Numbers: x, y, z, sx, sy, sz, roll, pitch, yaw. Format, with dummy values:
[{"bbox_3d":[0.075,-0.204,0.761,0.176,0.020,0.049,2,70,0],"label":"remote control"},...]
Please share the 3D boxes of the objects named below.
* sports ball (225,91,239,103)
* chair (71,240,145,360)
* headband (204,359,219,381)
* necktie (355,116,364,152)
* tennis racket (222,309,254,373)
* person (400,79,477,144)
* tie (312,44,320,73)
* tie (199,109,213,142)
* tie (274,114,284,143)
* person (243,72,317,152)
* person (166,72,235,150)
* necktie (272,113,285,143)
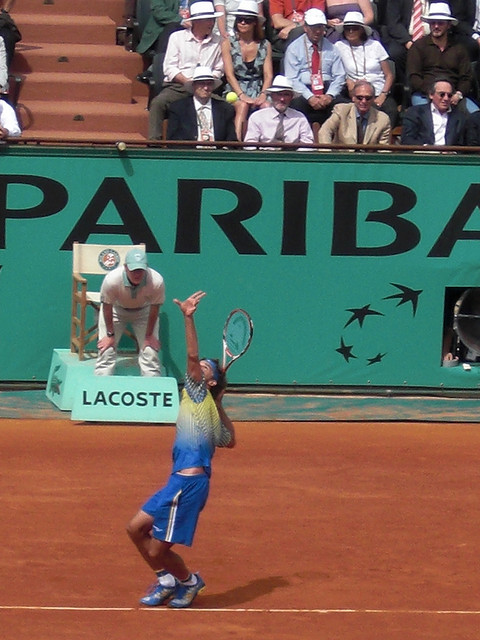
[{"bbox_3d":[-0.078,-2.498,13.704,0.151,0.132,0.106,-5,-12,21],"label":"sports ball"},{"bbox_3d":[-1.231,-0.186,11.910,0.759,1.077,0.639,-2,14,-17],"label":"chair"},{"bbox_3d":[-0.161,0.326,8.001,0.091,0.117,0.039,-6,5,4],"label":"headband"},{"bbox_3d":[1.297,-2.025,12.996,0.052,0.276,0.119,6,18,28],"label":"necktie"},{"bbox_3d":[0.031,0.132,8.141,0.027,0.460,0.187,0,35,-27],"label":"tennis racket"},{"bbox_3d":[2.159,-2.235,13.134,0.805,0.674,0.361,1,16,11],"label":"person"},{"bbox_3d":[0.883,-2.998,14.022,0.076,0.308,0.167,-1,16,4],"label":"tie"},{"bbox_3d":[-0.366,-2.064,12.933,0.099,0.301,0.145,-12,18,-29],"label":"tie"},{"bbox_3d":[0.435,-2.033,12.921,0.084,0.270,0.160,3,16,17],"label":"tie"},{"bbox_3d":[0.409,-2.132,12.895,0.749,0.819,0.595,4,1,10],"label":"person"},{"bbox_3d":[-0.414,-2.215,12.809,0.740,0.717,1.394,-2,15,-1],"label":"person"},{"bbox_3d":[0.432,-2.037,12.917,0.088,0.281,0.184,6,18,26],"label":"necktie"}]
